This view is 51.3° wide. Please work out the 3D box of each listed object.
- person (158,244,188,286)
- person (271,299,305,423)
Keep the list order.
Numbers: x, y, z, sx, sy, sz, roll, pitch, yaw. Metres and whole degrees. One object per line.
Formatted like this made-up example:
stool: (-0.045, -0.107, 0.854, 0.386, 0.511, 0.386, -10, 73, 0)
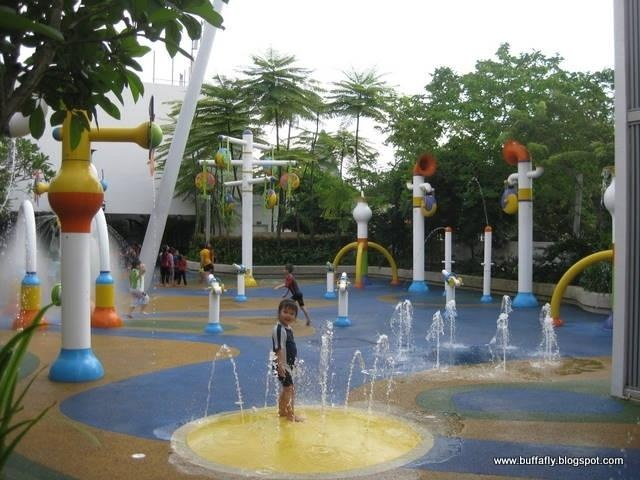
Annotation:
person: (-6.159, 1.053, 27.807, 0.992, 1.620, 2.595, 5, -4, -14)
person: (-0.459, 1.558, 8.907, 0.403, 1.532, 1.253, 4, -4, -3)
